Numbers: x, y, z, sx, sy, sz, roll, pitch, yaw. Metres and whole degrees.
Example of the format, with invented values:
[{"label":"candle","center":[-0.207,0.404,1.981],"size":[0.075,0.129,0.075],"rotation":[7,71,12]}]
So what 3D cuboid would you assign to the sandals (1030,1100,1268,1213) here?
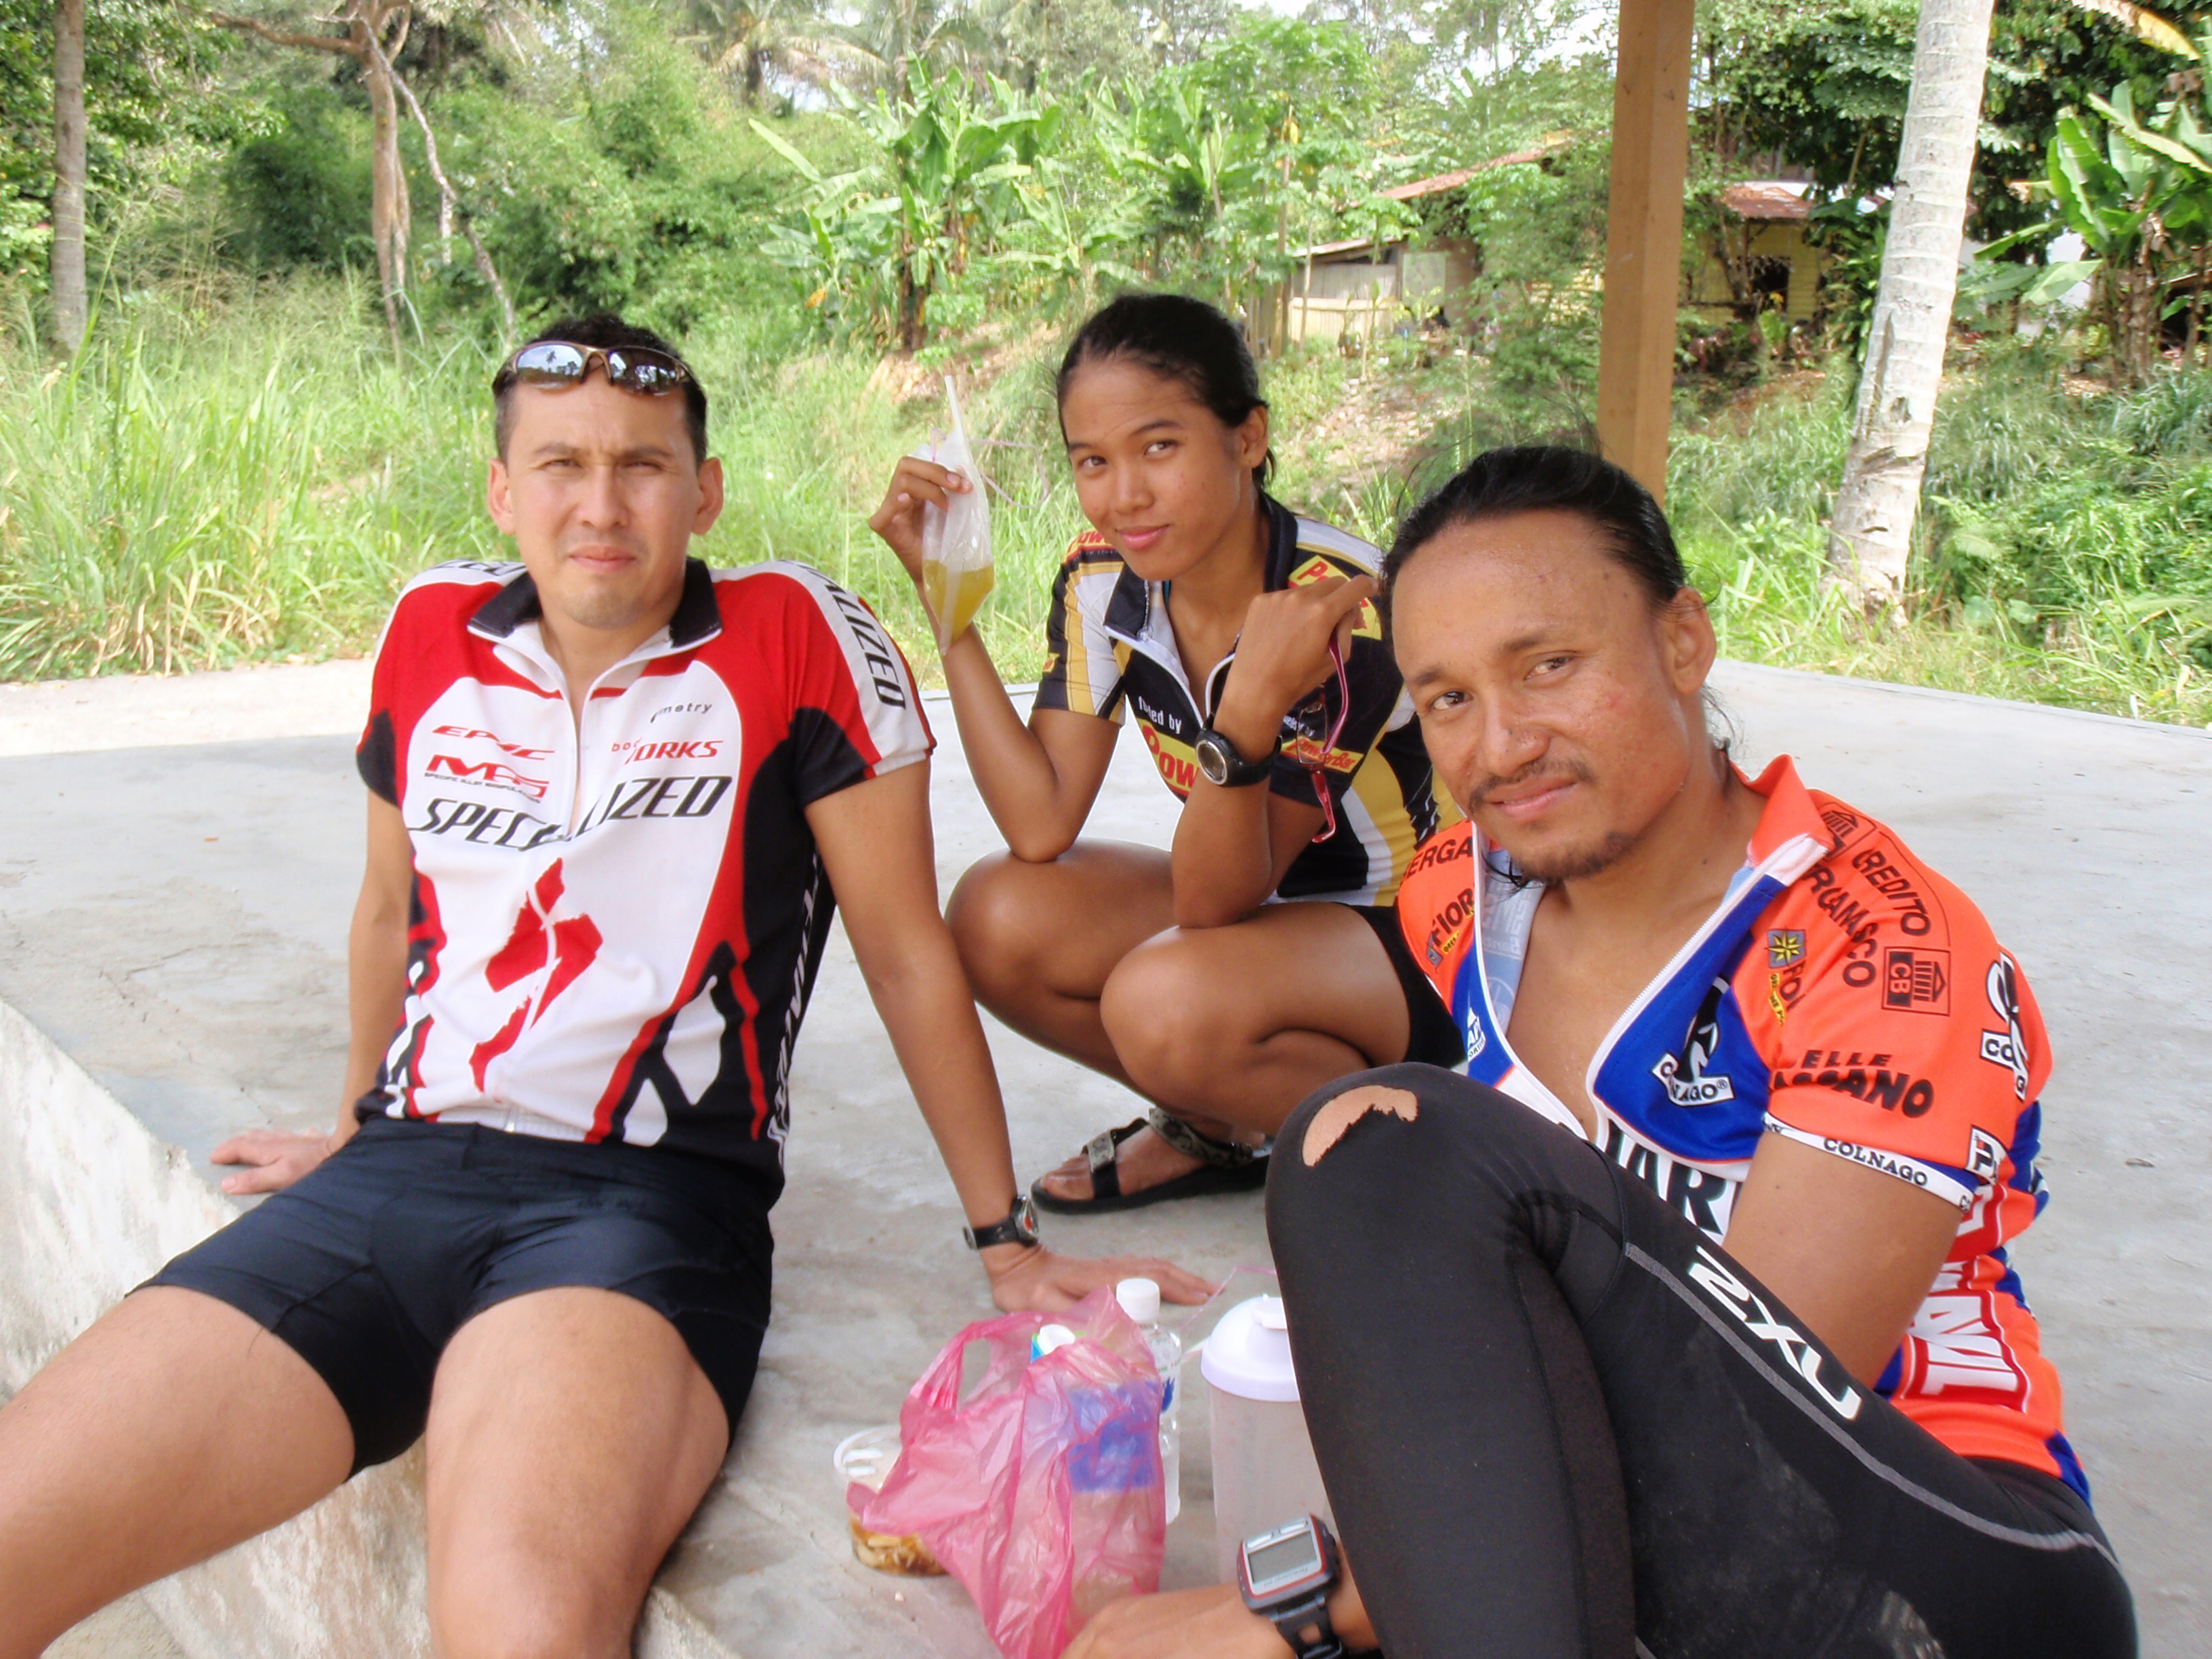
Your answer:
[{"label":"sandals","center":[0.082,0.552,2.908],"size":[0.365,0.161,0.172],"rotation":[0,-2,-5]}]

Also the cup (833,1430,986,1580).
[{"label":"cup","center":[-0.263,0.780,2.040],"size":[0.101,0.119,0.256],"rotation":[-1,12,-17]}]

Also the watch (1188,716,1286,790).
[{"label":"watch","center":[0.199,-0.133,2.619],"size":[0.105,0.082,0.112],"rotation":[-3,24,-36]}]

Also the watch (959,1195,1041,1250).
[{"label":"watch","center":[-0.139,0.555,2.373],"size":[0.073,0.048,0.071],"rotation":[-14,-1,-6]}]
